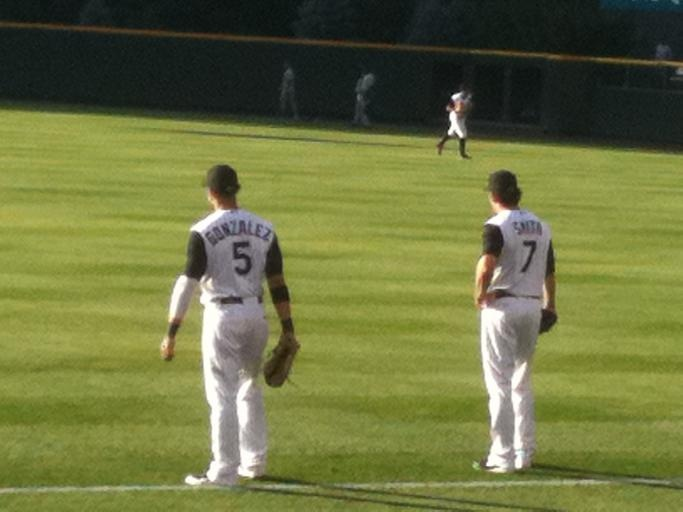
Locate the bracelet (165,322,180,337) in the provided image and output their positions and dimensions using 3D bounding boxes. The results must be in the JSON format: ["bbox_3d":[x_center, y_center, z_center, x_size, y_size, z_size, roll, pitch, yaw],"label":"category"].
[{"bbox_3d":[-2.336,0.996,25.622,0.168,0.215,0.251,0,7,-9],"label":"bracelet"}]

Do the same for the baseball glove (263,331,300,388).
[{"bbox_3d":[-0.831,1.470,26.013,0.457,0.759,0.203,23,6,9],"label":"baseball glove"}]

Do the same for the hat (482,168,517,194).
[{"bbox_3d":[2.240,-1.060,26.074,0.423,0.312,0.689,5,1,3],"label":"hat"}]

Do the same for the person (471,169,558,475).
[{"bbox_3d":[2.389,0.928,25.936,1.070,4.245,0.696,1,7,2],"label":"person"}]

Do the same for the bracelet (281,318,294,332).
[{"bbox_3d":[-0.763,0.982,25.882,0.177,0.205,0.188,2,6,9],"label":"bracelet"}]

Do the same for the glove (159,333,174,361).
[{"bbox_3d":[-2.424,1.285,25.648,0.232,0.437,0.163,4,1,3],"label":"glove"}]
